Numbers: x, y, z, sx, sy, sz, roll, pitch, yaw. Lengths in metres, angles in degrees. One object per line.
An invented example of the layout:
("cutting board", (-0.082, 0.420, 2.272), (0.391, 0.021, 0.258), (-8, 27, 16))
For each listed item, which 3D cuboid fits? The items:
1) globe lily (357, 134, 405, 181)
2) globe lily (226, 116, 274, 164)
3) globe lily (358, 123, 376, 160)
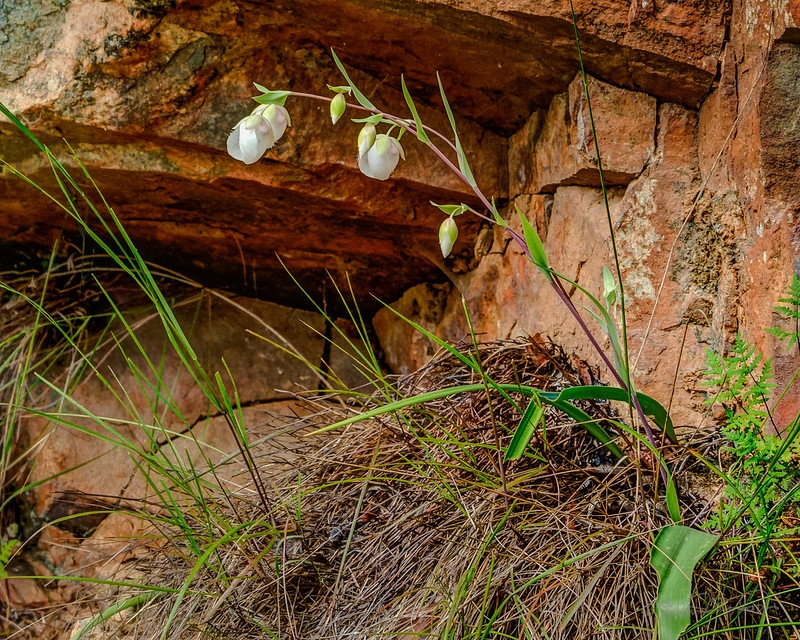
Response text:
("globe lily", (-0.047, -0.356, 2.387), (0.083, 0.118, 0.101), (-3, -2, -27))
("globe lily", (-0.327, -0.416, 2.426), (0.091, 0.125, 0.036), (-5, 11, 10))
("globe lily", (-0.080, -0.391, 2.382), (0.017, 0.057, 0.059), (14, 47, -30))
